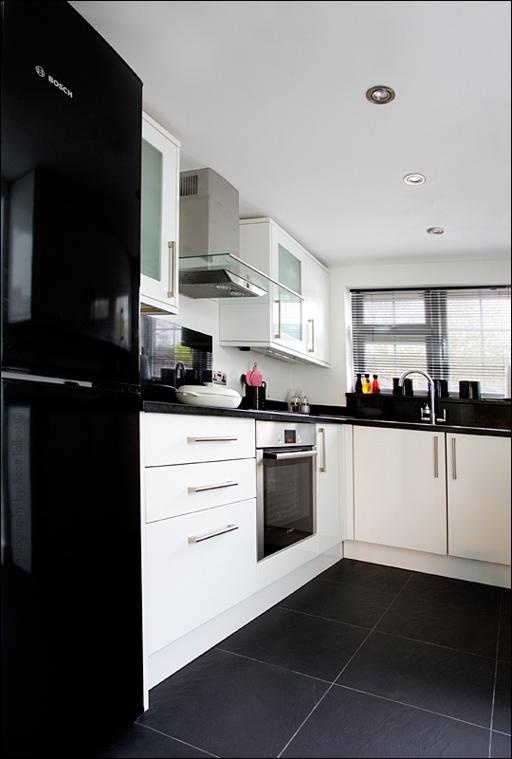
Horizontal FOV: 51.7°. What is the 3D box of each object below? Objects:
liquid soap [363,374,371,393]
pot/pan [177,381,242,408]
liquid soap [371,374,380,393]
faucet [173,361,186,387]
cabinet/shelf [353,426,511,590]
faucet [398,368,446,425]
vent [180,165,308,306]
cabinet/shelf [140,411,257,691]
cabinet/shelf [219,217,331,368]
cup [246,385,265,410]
[{"bbox_3d":[0.892,0.033,4.291,0.075,0.171,0.156,0,-5,9],"label":"liquid soap"},{"bbox_3d":[-0.200,0.068,2.253,0.274,0.086,0.166,3,-6,-12],"label":"pot/pan"},{"bbox_3d":[0.957,0.032,4.266,0.070,0.171,0.145,0,-5,14],"label":"liquid soap"},{"bbox_3d":[-0.402,-0.025,2.805,0.033,0.144,0.131,0,-5,13],"label":"faucet"},{"bbox_3d":[1.035,0.752,3.043,0.680,0.849,0.293,-3,-7,32],"label":"cabinet/shelf"},{"bbox_3d":[1.165,0.119,3.813,0.244,0.089,0.567,-2,-46,22],"label":"faucet"},{"bbox_3d":[-0.176,-0.736,2.774,0.443,0.580,0.858,0,-6,12],"label":"vent"},{"bbox_3d":[-0.249,0.563,1.902,0.302,0.785,0.600,-5,-6,38],"label":"cabinet/shelf"},{"bbox_3d":[0.306,-0.466,3.790,0.209,0.736,1.119,-5,-11,30],"label":"cabinet/shelf"},{"bbox_3d":[0.011,0.115,3.594,0.104,0.171,0.235,-1,-6,30],"label":"cup"}]
